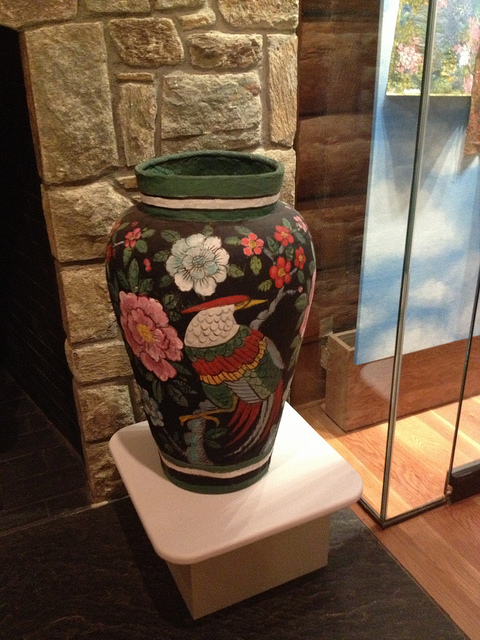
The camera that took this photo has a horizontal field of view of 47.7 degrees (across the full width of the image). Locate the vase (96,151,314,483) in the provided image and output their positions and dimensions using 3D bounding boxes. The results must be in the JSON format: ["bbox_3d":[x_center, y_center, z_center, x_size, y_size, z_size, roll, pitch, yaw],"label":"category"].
[{"bbox_3d":[-0.016,0.026,1.108,0.469,0.606,0.412,7,16,24],"label":"vase"}]
